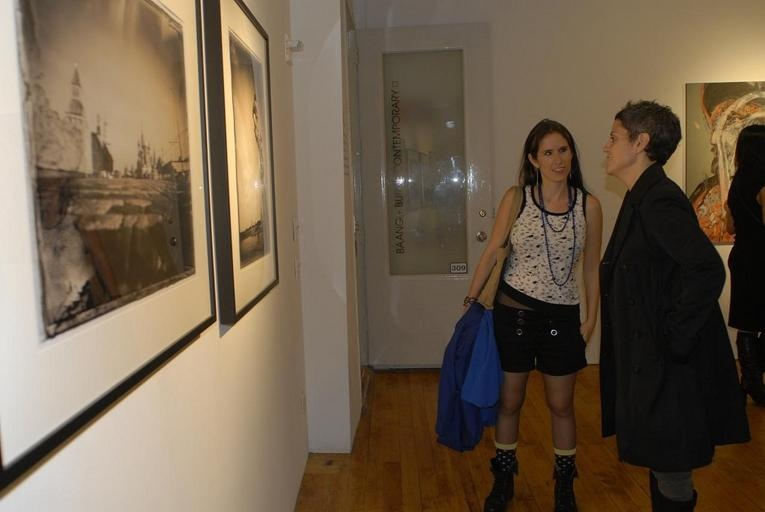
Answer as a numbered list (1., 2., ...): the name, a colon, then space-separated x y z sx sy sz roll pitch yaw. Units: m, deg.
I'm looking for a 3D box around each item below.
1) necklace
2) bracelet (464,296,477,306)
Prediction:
1. necklace: 0.770 -0.101 2.442 0.160 0.037 0.700 -3 46 15
2. bracelet: 0.412 0.208 2.618 0.043 0.031 0.043 1 0 -13
